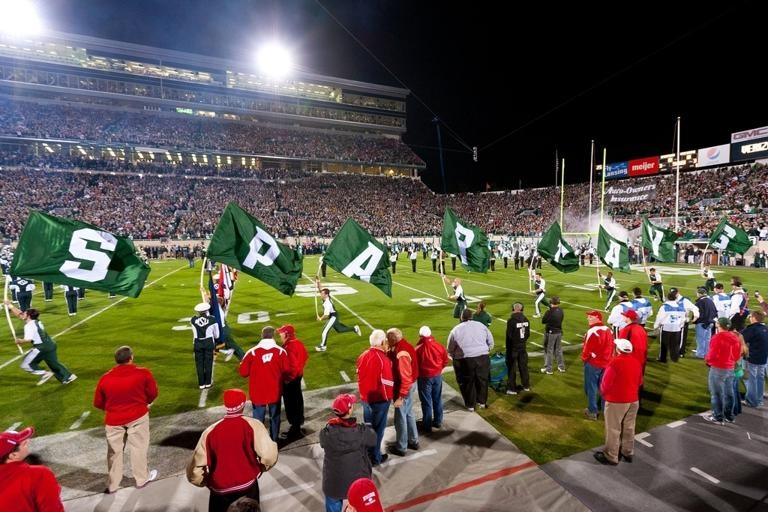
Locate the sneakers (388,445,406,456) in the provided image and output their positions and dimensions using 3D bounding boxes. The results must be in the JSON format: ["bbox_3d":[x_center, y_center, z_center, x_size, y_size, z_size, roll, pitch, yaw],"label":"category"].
[{"bbox_3d":[0.285,4.317,10.831,0.159,0.187,0.419,11,-1,-41],"label":"sneakers"}]

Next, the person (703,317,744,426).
[{"bbox_3d":[7.974,2.865,11.505,0.729,2.180,0.364,2,2,23],"label":"person"}]

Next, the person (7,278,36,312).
[{"bbox_3d":[-13.607,1.346,18.394,0.657,1.807,0.555,-7,28,-42],"label":"person"}]

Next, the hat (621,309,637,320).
[{"bbox_3d":[5.939,1.412,11.861,0.277,0.202,0.378,3,9,-41],"label":"hat"}]

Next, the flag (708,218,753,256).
[{"bbox_3d":[17.675,-0.932,24.761,2.174,2.154,0.369,20,-18,7],"label":"flag"}]

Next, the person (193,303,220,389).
[{"bbox_3d":[-4.660,2.372,12.801,0.677,2.264,0.561,1,2,-18],"label":"person"}]

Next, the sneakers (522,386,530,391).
[{"bbox_3d":[3.695,3.455,12.654,0.136,0.045,0.133,-9,7,-34],"label":"sneakers"}]

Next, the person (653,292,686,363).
[{"bbox_3d":[8.164,1.998,13.972,0.987,2.149,0.466,1,2,-20],"label":"person"}]

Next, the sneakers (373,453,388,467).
[{"bbox_3d":[-0.091,4.437,10.553,0.119,0.237,0.351,13,38,40],"label":"sneakers"}]

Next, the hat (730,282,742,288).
[{"bbox_3d":[10.416,0.889,14.413,0.194,0.245,0.244,1,14,1],"label":"hat"}]

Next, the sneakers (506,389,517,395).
[{"bbox_3d":[3.282,3.529,12.624,0.293,0.126,0.113,3,-5,3],"label":"sneakers"}]

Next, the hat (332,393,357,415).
[{"bbox_3d":[-0.713,2.801,9.380,0.360,0.294,0.579,5,24,21],"label":"hat"}]

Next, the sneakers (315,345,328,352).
[{"bbox_3d":[-1.944,2.865,15.062,0.333,0.157,0.160,1,-15,6],"label":"sneakers"}]

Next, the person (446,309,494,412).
[{"bbox_3d":[2.157,2.502,12.017,1.100,2.411,0.772,-6,12,-5],"label":"person"}]

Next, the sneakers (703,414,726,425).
[{"bbox_3d":[7.794,3.894,11.547,0.174,0.184,0.422,-5,12,-33],"label":"sneakers"}]

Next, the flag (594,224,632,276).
[{"bbox_3d":[8.583,-0.293,18.265,1.034,1.675,0.775,2,2,22],"label":"flag"}]

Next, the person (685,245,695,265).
[{"bbox_3d":[22.104,-0.078,35.335,0.519,1.054,0.377,3,2,31],"label":"person"}]

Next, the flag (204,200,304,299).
[{"bbox_3d":[-2.985,0.004,12.391,2.703,1.870,0.726,27,-31,-28],"label":"flag"}]

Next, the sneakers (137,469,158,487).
[{"bbox_3d":[-4.949,4.685,10.308,0.167,0.208,0.461,29,37,26],"label":"sneakers"}]

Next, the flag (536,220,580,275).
[{"bbox_3d":[6.481,-0.354,18.436,2.059,1.928,1.099,-1,3,-44],"label":"flag"}]

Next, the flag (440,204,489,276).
[{"bbox_3d":[2.586,-0.500,15.643,1.503,2.015,0.550,2,2,5],"label":"flag"}]

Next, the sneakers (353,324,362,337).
[{"bbox_3d":[-0.860,2.476,16.143,0.157,0.426,0.182,-17,44,-17],"label":"sneakers"}]

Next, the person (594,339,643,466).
[{"bbox_3d":[5.078,3.161,10.619,0.870,2.725,0.432,2,2,18],"label":"person"}]

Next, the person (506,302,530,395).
[{"bbox_3d":[3.430,2.379,12.536,0.618,2.379,0.486,1,2,-1],"label":"person"}]

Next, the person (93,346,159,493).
[{"bbox_3d":[-5.337,3.402,10.166,1.152,3.029,0.264,1,2,-16],"label":"person"}]

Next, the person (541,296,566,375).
[{"bbox_3d":[4.677,2.156,13.385,0.628,2.209,1.564,2,2,20],"label":"person"}]

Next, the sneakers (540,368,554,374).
[{"bbox_3d":[4.510,3.204,13.506,0.131,0.165,0.357,1,4,-16],"label":"sneakers"}]

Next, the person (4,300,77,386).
[{"bbox_3d":[-9.052,2.402,13.127,1.120,2.082,0.888,0,3,-37],"label":"person"}]

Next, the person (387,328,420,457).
[{"bbox_3d":[0.440,3.014,10.862,0.760,2.758,0.404,1,2,-1],"label":"person"}]

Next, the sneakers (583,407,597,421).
[{"bbox_3d":[4.969,3.841,11.817,0.135,0.160,0.370,4,10,-15],"label":"sneakers"}]

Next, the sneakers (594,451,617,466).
[{"bbox_3d":[4.802,4.440,10.574,0.205,0.184,0.409,-1,12,-28],"label":"sneakers"}]

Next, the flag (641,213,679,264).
[{"bbox_3d":[11.088,-0.678,19.713,1.160,1.734,0.894,2,2,24],"label":"flag"}]

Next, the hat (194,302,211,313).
[{"bbox_3d":[-4.735,1.353,12.767,0.353,0.225,0.406,1,2,-14],"label":"hat"}]

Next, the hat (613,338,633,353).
[{"bbox_3d":[5.183,1.931,10.597,0.257,0.179,0.346,13,22,-6],"label":"hat"}]
